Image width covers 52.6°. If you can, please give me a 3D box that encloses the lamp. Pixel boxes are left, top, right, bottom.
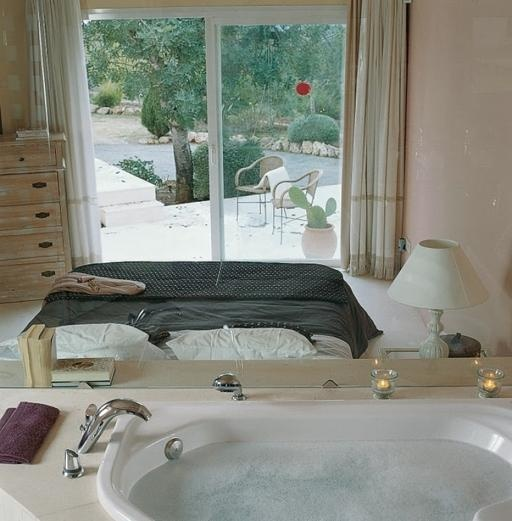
[{"bbox_3d":[0.530,0.135,1.520,0.272,0.348,0.111,1,18,11],"label":"lamp"}]

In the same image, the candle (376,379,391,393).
[{"bbox_3d":[0.382,0.368,1.529,0.043,0.034,0.016,0,0,4],"label":"candle"}]

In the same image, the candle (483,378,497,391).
[{"bbox_3d":[0.684,0.363,1.511,0.048,0.023,0.042,-1,16,5],"label":"candle"}]
